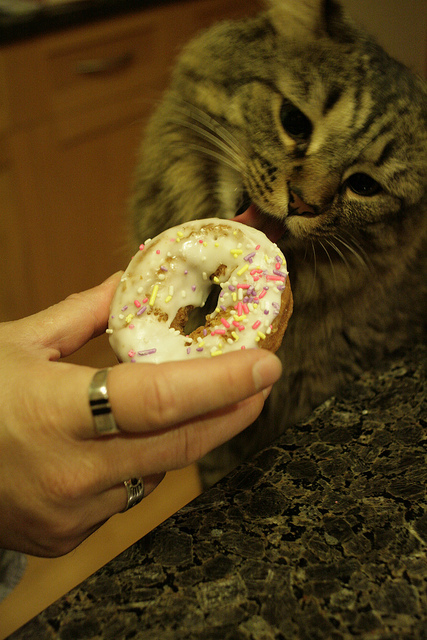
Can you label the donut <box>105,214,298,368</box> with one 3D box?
[{"bbox_3d":[-0.021,0.003,1.159,0.382,0.418,0.154,-33,85,-18],"label":"donut"}]
